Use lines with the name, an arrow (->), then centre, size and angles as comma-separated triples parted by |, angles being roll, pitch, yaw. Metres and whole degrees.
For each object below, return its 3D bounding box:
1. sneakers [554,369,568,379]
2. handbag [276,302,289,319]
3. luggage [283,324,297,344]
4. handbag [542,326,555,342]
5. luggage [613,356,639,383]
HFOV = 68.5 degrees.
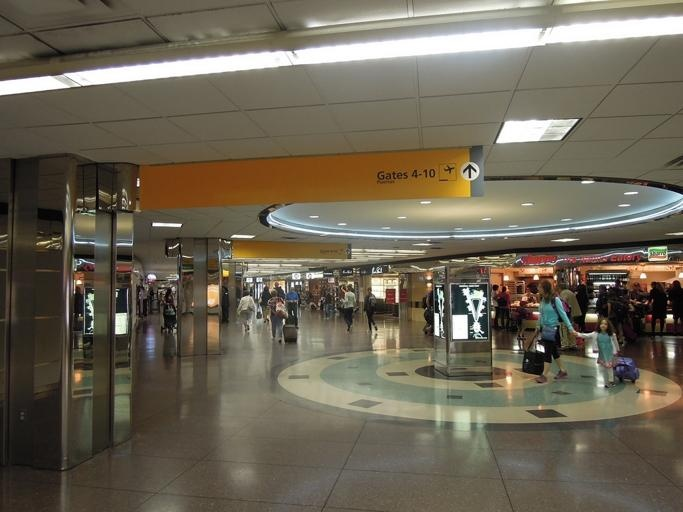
sneakers -> 4.042, 2.184, 9.238 | 0.137, 0.175, 0.409 | -45, -30, 25
handbag -> -1.825, 1.644, 15.327 | 0.366, 0.535, 0.301 | -3, -4, 42
luggage -> -1.517, 2.333, 15.192 | 0.564, 0.546, 0.418 | 1, 2, 4
handbag -> 3.603, 1.351, 8.711 | 0.199, 0.236, 0.121 | 14, -26, 3
luggage -> 4.951, 1.964, 8.789 | 0.411, 0.534, 0.544 | 0, 0, 26
